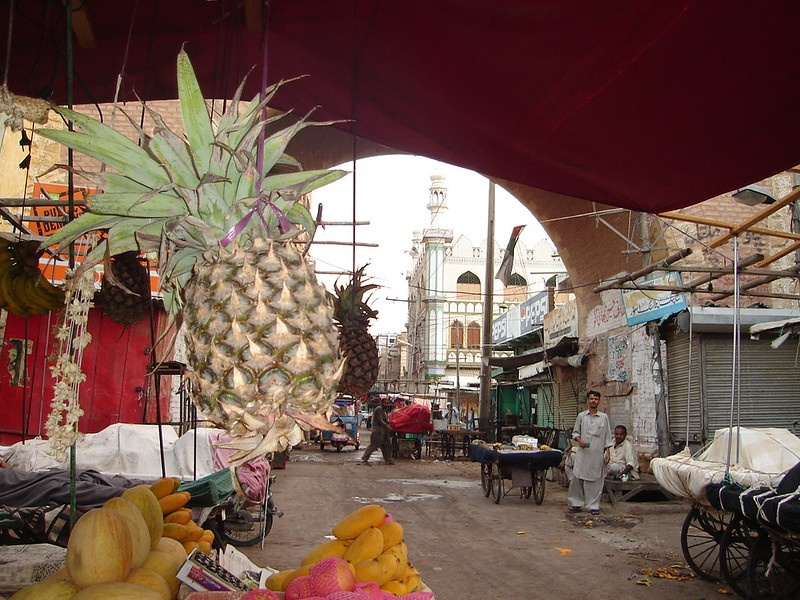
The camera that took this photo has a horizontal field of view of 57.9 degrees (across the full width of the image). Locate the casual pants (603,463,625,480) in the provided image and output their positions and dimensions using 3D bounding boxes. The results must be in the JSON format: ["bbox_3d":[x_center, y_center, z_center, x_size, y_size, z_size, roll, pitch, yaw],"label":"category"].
[{"bbox_3d":[3.740,3.014,12.625,0.392,0.245,0.170,-4,-33,24],"label":"casual pants"}]

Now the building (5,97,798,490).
[{"bbox_3d":[0.680,0.271,9.108,7.830,2.271,8.967,2,-5,-10],"label":"building"}]

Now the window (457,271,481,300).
[{"bbox_3d":[4.837,-1.020,52.306,1.942,2.430,0.103,0,5,-9],"label":"window"}]

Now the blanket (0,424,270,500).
[{"bbox_3d":[-2.409,1.523,6.597,2.121,0.620,1.280,5,-14,-2],"label":"blanket"}]

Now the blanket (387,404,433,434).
[{"bbox_3d":[0.280,3.651,21.692,1.352,0.788,1.894,1,-5,7],"label":"blanket"}]

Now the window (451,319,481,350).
[{"bbox_3d":[4.600,2.591,52.281,1.984,1.839,0.209,3,-10,-18],"label":"window"}]

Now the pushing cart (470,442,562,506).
[{"bbox_3d":[1.981,3.164,13.507,1.375,1.037,1.929,5,1,-11],"label":"pushing cart"}]

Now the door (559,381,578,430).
[{"bbox_3d":[4.810,3.022,21.079,0.844,0.853,0.038,29,-39,-31],"label":"door"}]

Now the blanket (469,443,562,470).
[{"bbox_3d":[2.001,2.864,12.856,1.583,0.382,0.950,-1,-7,19],"label":"blanket"}]

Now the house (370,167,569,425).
[{"bbox_3d":[5.663,-0.374,56.356,10.674,15.543,10.913,4,-12,-8],"label":"house"}]

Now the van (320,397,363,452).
[{"bbox_3d":[-2.173,4.467,26.409,1.277,2.072,3.561,4,-2,-1],"label":"van"}]

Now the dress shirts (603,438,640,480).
[{"bbox_3d":[3.831,2.837,12.659,0.418,0.759,0.616,13,-25,-6],"label":"dress shirts"}]

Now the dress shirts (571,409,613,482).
[{"bbox_3d":[3.212,2.490,12.131,0.620,1.136,0.444,0,-5,16],"label":"dress shirts"}]

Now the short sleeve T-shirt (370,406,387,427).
[{"bbox_3d":[-0.622,3.372,20.512,0.455,0.623,0.718,-2,-4,-8],"label":"short sleeve T-shirt"}]
